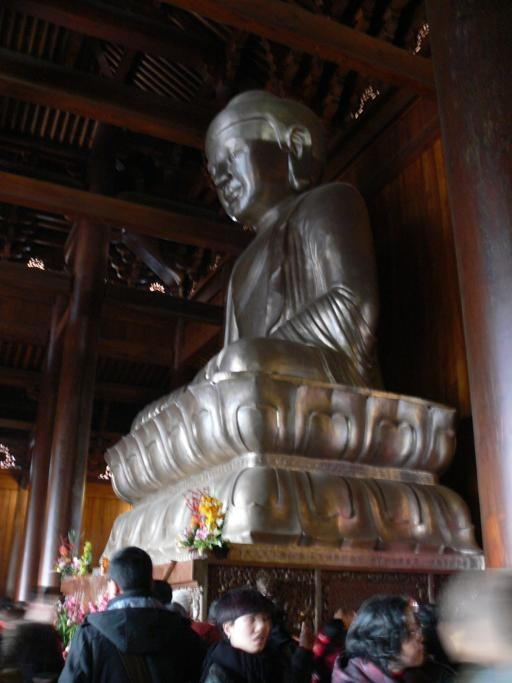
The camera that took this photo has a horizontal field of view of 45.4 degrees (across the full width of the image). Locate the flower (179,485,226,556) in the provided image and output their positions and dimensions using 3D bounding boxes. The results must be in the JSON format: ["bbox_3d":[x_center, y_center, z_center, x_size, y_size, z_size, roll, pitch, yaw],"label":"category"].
[{"bbox_3d":[-0.128,0.473,1.515,0.104,0.170,0.120,1,-42,-4],"label":"flower"}]
